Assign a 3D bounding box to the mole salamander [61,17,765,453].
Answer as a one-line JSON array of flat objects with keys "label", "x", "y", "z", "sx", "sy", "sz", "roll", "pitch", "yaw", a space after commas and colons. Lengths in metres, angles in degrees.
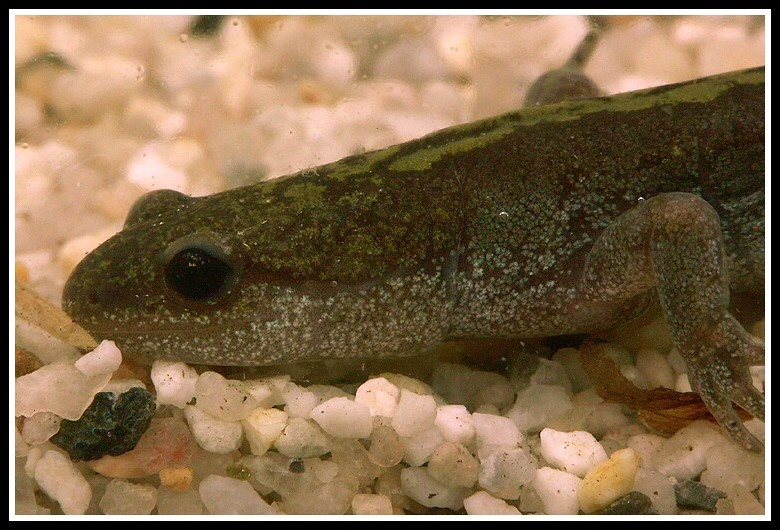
[{"label": "mole salamander", "x": 0.169, "y": 0.039, "z": 2.896, "sx": 2.186, "sy": 1.048, "sz": 0.580, "roll": -14, "pitch": -57, "yaw": 0}]
